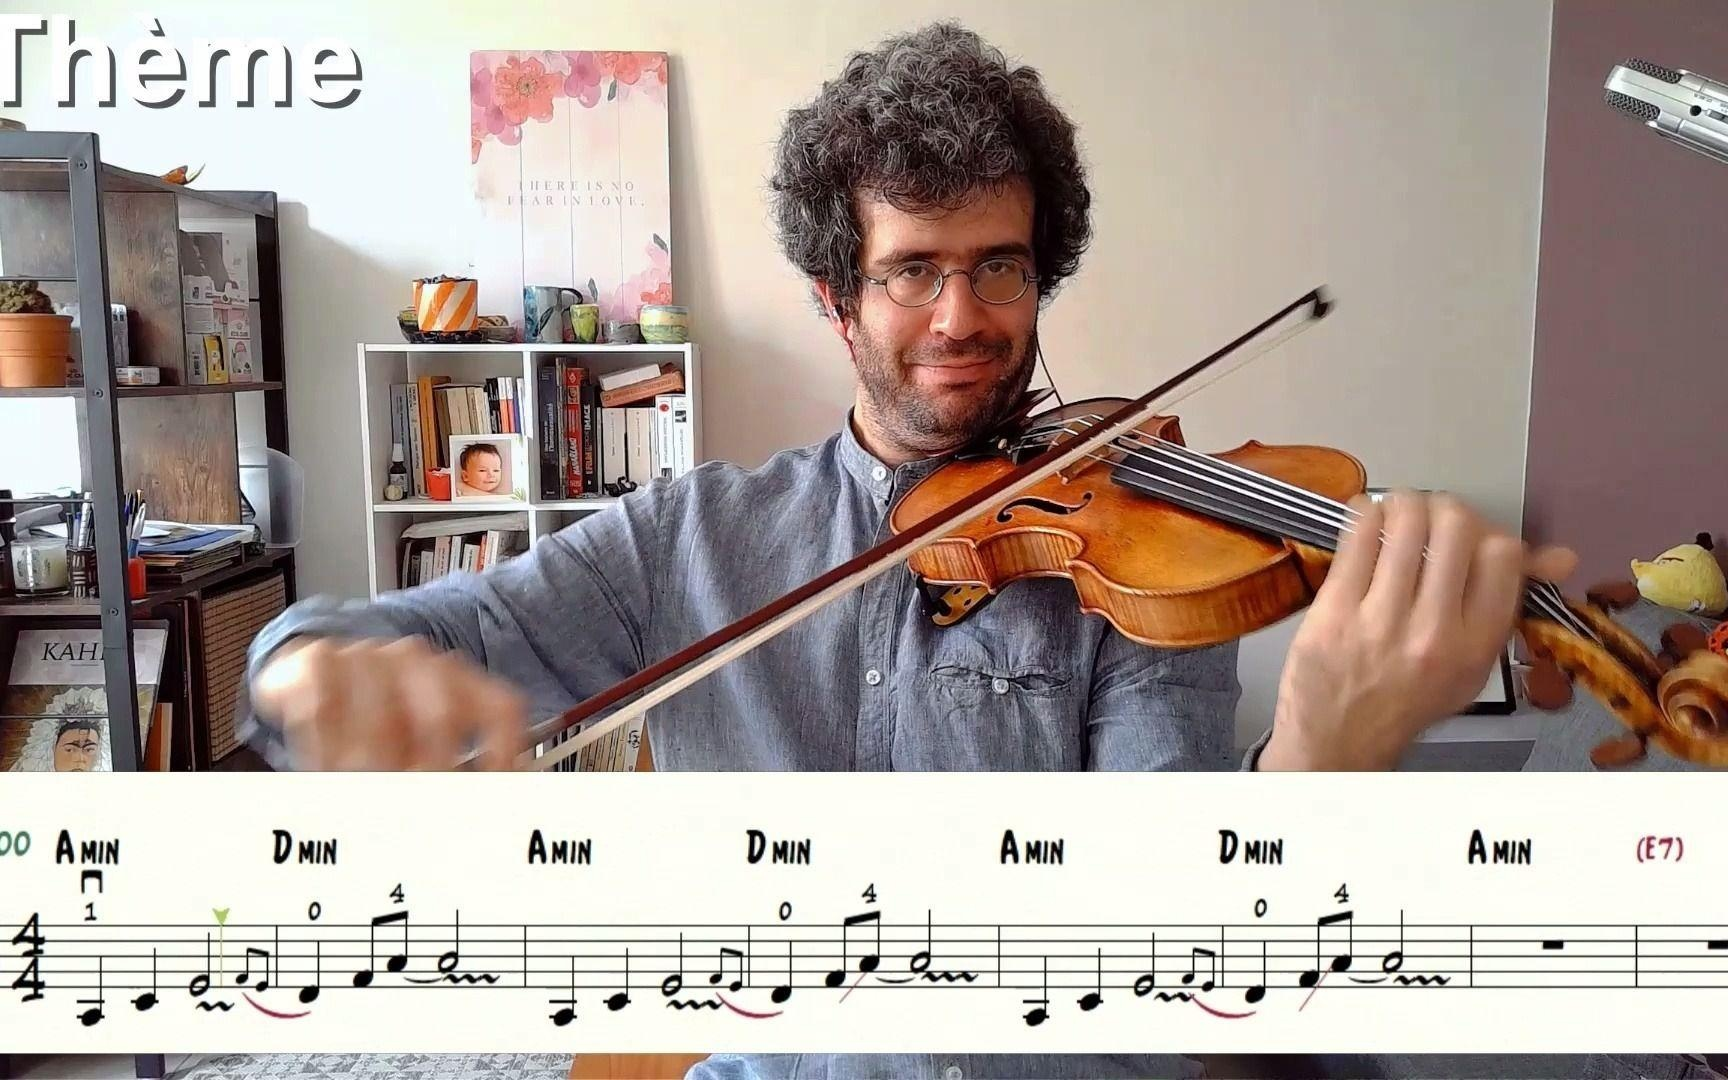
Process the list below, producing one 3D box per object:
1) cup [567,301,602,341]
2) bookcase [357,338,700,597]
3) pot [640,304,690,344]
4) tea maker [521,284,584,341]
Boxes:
[{"bbox_3d":[-0.354,-0.278,1.791,0.051,0.053,0.048,-1,-2,0],"label":"cup"},{"bbox_3d":[-0.480,-0.103,2.002,0.385,0.341,0.124,-2,-1,-11],"label":"bookcase"},{"bbox_3d":[-0.245,-0.269,1.746,0.051,0.035,0.049,0,8,0],"label":"pot"},{"bbox_3d":[-0.401,-0.289,1.791,0.094,0.076,0.056,-5,5,-42],"label":"tea maker"}]
